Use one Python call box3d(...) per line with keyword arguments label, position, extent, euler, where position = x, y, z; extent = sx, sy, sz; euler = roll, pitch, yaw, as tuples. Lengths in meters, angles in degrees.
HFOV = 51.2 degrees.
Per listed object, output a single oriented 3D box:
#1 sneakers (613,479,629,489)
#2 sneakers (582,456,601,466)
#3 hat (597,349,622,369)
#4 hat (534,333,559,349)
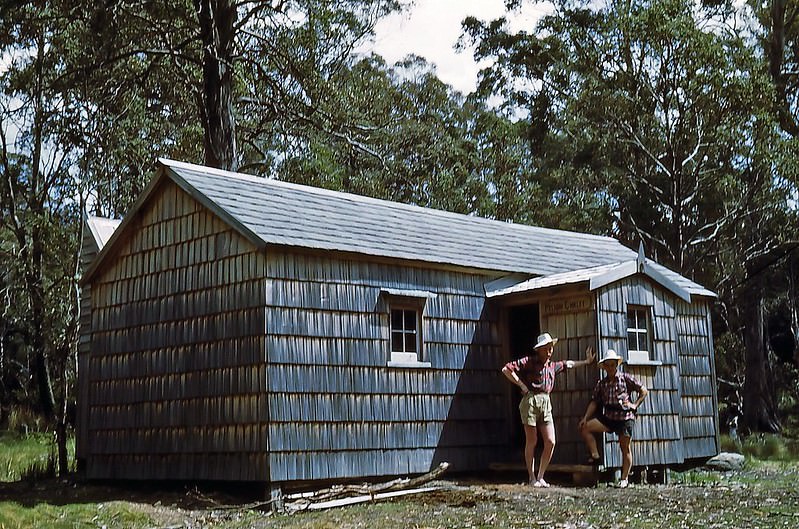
box3d(label="sneakers", position=(4.881, 4.800, 18.362), extent=(0.169, 0.235, 0.524), euler=(-10, -26, 24))
box3d(label="sneakers", position=(4.353, 4.362, 18.761), extent=(0.360, 0.185, 0.149), euler=(1, -5, 16))
box3d(label="hat", position=(4.710, 2.042, 18.683), extent=(0.316, 0.188, 0.436), euler=(-9, -21, 8))
box3d(label="hat", position=(3.185, 1.643, 18.451), extent=(0.406, 0.209, 0.502), euler=(-14, -16, -2))
